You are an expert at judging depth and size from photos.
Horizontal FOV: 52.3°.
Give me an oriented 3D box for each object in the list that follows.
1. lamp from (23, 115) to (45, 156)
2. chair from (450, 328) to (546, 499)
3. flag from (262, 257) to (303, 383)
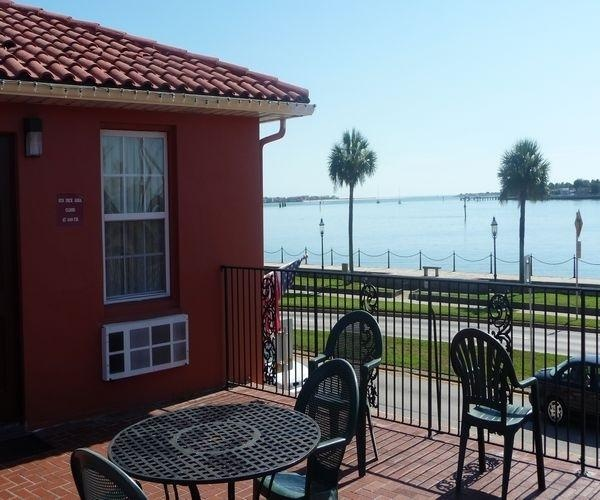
[{"bbox_3d":[-2.906,-1.248,6.654,0.175,0.423,0.102,-2,3,-28],"label":"lamp"},{"bbox_3d":[1.694,1.371,5.292,0.795,1.440,0.636,1,3,18],"label":"chair"},{"bbox_3d":[-0.272,1.178,9.784,0.103,2.300,2.002,2,-6,-16],"label":"flag"}]
